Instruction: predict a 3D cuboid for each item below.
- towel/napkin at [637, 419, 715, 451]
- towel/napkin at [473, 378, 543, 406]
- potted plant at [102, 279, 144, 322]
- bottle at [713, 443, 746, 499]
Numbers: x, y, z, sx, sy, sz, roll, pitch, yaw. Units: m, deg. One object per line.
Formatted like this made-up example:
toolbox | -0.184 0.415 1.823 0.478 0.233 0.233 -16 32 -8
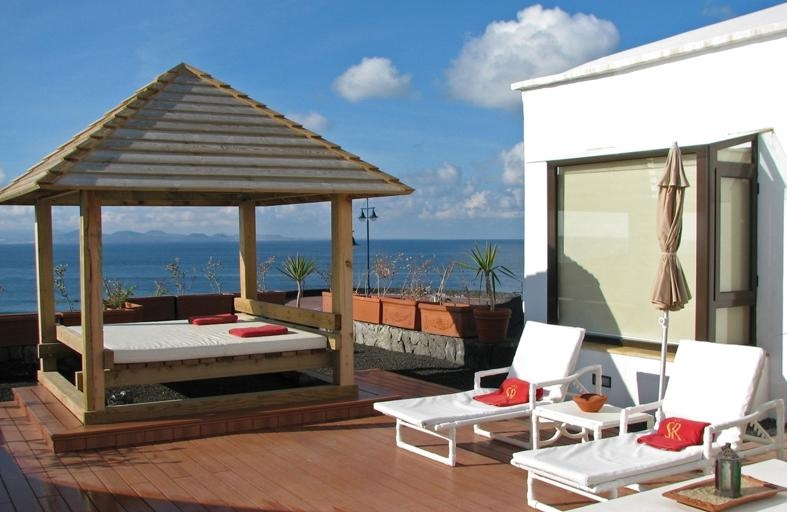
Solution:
towel/napkin | 2.732 1.684 5.962 0.817 0.257 0.542 0 -1 -45
towel/napkin | 1.315 1.600 7.084 0.464 0.131 0.404 -2 5 -24
potted plant | -5.378 0.910 12.040 1.000 0.646 1.184 3 -2 -13
bottle | 2.622 1.672 4.805 0.183 0.340 0.239 -2 3 31
